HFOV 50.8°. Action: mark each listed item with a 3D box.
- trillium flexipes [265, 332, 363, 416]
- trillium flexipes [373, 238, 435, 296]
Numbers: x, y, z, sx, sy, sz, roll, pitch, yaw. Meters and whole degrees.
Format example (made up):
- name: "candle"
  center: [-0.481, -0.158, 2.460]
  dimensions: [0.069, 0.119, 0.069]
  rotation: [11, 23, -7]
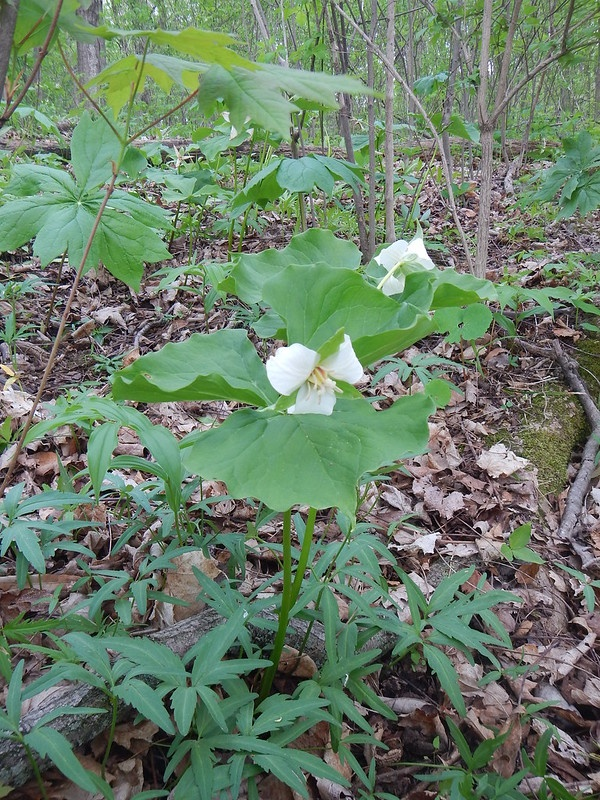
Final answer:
- name: "trillium flexipes"
  center: [0.024, -0.043, 1.474]
  dimensions: [0.208, 0.190, 0.077]
  rotation: [-17, 33, -11]
- name: "trillium flexipes"
  center: [0.308, -0.393, 1.857]
  dimensions: [0.177, 0.163, 0.253]
  rotation: [6, 19, 5]
